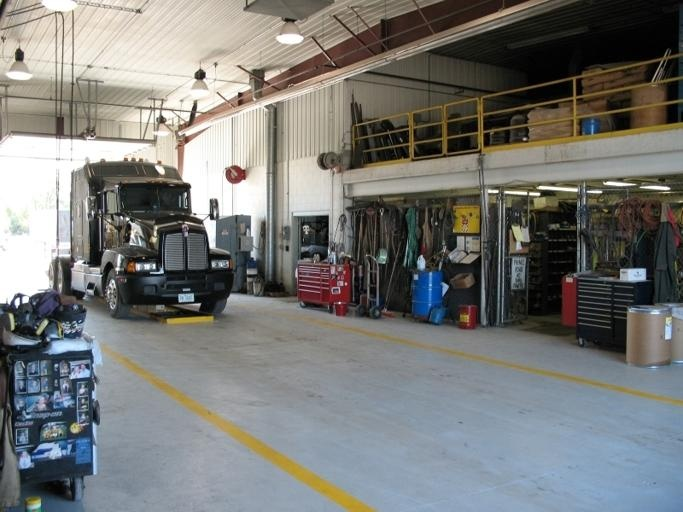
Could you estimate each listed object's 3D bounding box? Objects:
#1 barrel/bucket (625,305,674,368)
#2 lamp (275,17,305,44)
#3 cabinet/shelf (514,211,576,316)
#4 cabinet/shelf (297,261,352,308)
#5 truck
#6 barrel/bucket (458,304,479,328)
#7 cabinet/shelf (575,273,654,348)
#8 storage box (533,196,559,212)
[{"bbox_3d":[4.838,1.232,8.877,0.728,1.298,0.843,0,-3,15],"label":"barrel/bucket"},{"bbox_3d":[-0.931,-4.053,10.104,0.380,0.530,0.642,0,4,-10],"label":"lamp"},{"bbox_3d":[5.077,0.080,13.637,1.609,2.713,0.506,-2,5,-32],"label":"cabinet/shelf"},{"bbox_3d":[-0.458,0.771,13.904,0.575,1.158,1.630,-2,1,-33],"label":"cabinet/shelf"},{"bbox_3d":[-4.880,-0.235,13.850,2.306,3.318,6.026,1,-3,-33],"label":"truck"},{"bbox_3d":[2.621,1.242,11.600,0.382,0.441,0.439,2,-1,5],"label":"barrel/bucket"},{"bbox_3d":[4.698,0.987,9.603,0.631,1.240,1.128,-10,10,-30],"label":"cabinet/shelf"},{"bbox_3d":[4.906,-1.172,13.417,0.395,0.269,0.410,0,-2,-24],"label":"storage box"}]
